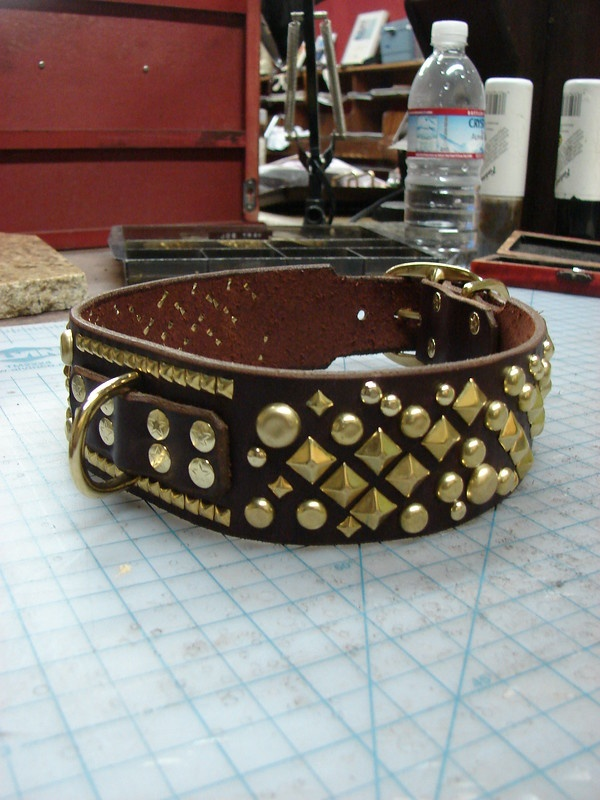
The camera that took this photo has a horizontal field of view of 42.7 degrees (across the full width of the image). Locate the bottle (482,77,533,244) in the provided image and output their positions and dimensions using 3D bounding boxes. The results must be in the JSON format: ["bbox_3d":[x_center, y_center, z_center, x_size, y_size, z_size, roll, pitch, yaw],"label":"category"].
[{"bbox_3d":[0.383,-0.445,1.450,0.082,0.311,0.056,2,19,10],"label":"bottle"}]
